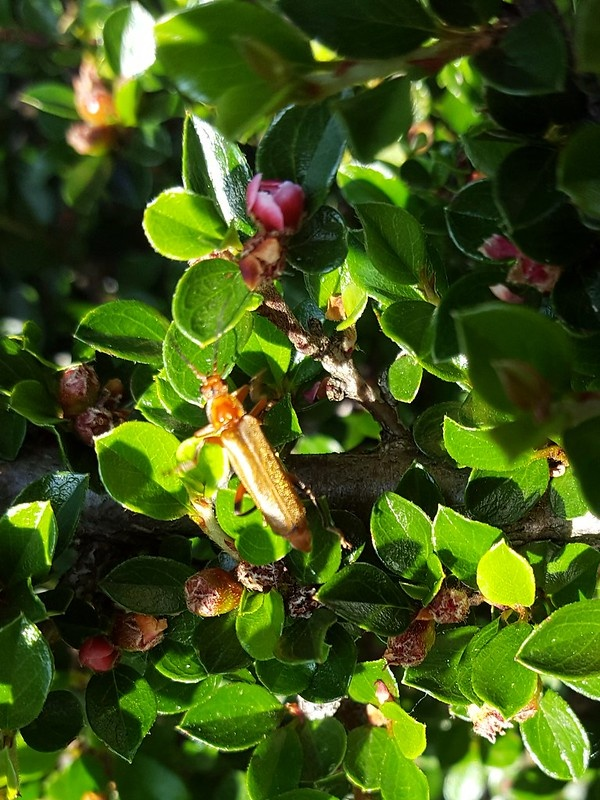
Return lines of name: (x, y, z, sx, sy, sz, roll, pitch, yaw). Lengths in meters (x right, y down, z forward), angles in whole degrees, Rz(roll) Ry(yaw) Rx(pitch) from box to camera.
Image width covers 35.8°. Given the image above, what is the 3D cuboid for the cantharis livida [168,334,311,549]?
cantharis livida: (-0.078, 0.070, 1.303, 0.076, 0.259, 0.185, -35, 1, 42)
